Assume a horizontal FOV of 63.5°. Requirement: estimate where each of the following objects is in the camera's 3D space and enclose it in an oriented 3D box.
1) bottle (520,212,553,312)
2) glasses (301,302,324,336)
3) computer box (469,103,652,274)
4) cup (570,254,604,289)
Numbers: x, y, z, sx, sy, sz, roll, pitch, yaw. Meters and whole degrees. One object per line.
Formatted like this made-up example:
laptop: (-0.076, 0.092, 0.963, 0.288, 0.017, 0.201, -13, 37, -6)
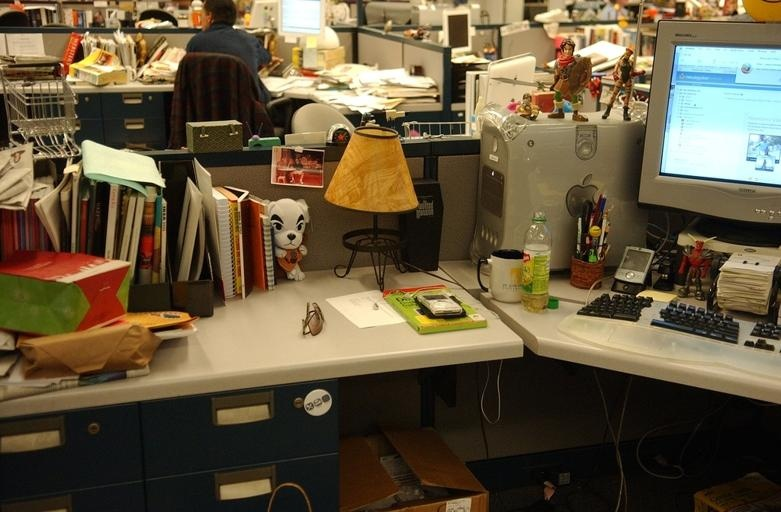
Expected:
bottle: (0.492, 0.007, 2.116, 0.088, 0.260, 0.271, 3, 21, 13)
glasses: (-0.239, 0.198, 1.955, 0.074, 0.028, 0.118, -6, 36, -1)
computer box: (0.507, -0.306, 2.428, 0.704, 0.687, 0.426, -3, 20, -6)
cup: (0.673, 0.054, 2.178, 0.106, 0.080, 0.107, 1, 20, 0)
